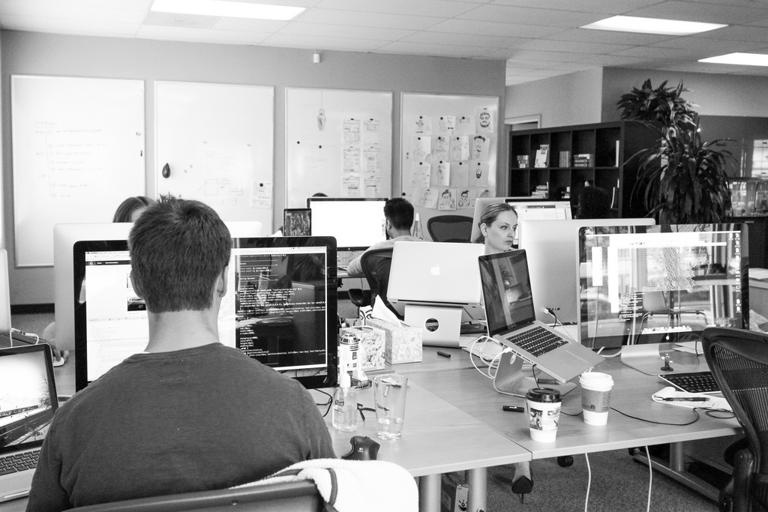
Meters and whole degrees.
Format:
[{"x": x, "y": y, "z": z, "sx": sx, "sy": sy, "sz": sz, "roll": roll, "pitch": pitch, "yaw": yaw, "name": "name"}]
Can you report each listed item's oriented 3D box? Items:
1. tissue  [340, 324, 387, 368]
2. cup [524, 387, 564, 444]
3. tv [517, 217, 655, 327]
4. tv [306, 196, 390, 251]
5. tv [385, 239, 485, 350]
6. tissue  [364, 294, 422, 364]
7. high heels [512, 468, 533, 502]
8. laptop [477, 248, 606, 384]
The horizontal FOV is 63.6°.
[{"x": -0.091, "y": 0.385, "z": 2.618, "sx": 0.180, "sy": 0.155, "sz": 0.181, "roll": 1, "pitch": 1, "yaw": 37, "name": "tissue "}, {"x": 0.520, "y": 0.554, "z": 2.159, "sx": 0.155, "sy": 0.157, "sz": 0.158, "roll": 0, "pitch": 1, "yaw": 0, "name": "cup"}, {"x": 1.014, "y": 0.047, "z": 3.130, "sx": 0.856, "sy": 0.588, "sz": 0.476, "roll": 0, "pitch": 1, "yaw": 2, "name": "tv"}, {"x": -0.294, "y": -0.260, "z": 4.958, "sx": 0.480, "sy": 0.330, "sz": 0.135, "roll": 0, "pitch": 0, "yaw": -9, "name": "tv"}, {"x": 0.248, "y": 0.124, "z": 3.149, "sx": 0.591, "sy": 0.612, "sz": 0.478, "roll": 2, "pitch": 6, "yaw": 5, "name": "tv"}, {"x": -0.003, "y": 0.259, "z": 2.943, "sx": 0.213, "sy": 0.382, "sz": 0.400, "roll": -5, "pitch": 8, "yaw": -21, "name": "tissue "}, {"x": 0.675, "y": 1.140, "z": 3.109, "sx": 0.086, "sy": 0.103, "sz": 0.233, "roll": -2, "pitch": -7, "yaw": 3, "name": "high heels"}, {"x": 0.574, "y": 0.226, "z": 2.617, "sx": 0.439, "sy": 0.428, "sz": 0.616, "roll": -5, "pitch": 17, "yaw": -40, "name": "laptop"}]
